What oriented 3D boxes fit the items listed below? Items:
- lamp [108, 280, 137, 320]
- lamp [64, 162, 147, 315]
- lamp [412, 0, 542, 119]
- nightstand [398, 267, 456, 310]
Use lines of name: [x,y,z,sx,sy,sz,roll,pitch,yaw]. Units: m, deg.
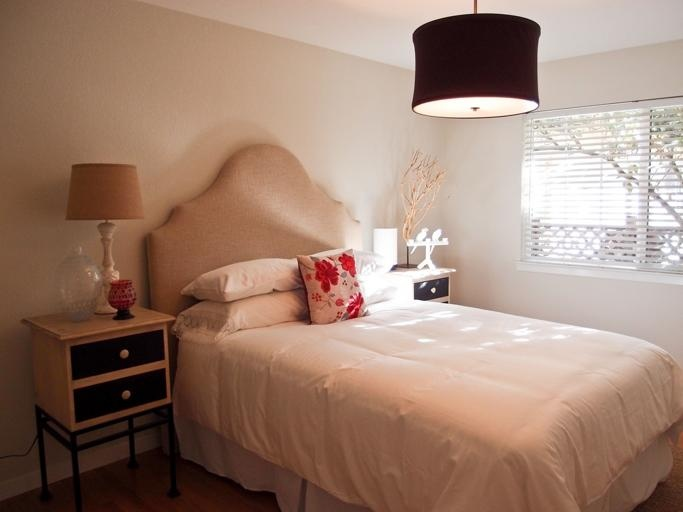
lamp: [-1.202,0.243,2.781,0.144,0.194,0.132,-2,5,-25]
lamp: [-1.352,-0.107,2.874,0.371,0.841,0.382,-10,18,-38]
lamp: [0.594,-0.912,2.618,0.614,0.694,0.640,0,2,-5]
nightstand: [0.721,0.243,4.341,0.307,0.426,0.436,1,5,37]
